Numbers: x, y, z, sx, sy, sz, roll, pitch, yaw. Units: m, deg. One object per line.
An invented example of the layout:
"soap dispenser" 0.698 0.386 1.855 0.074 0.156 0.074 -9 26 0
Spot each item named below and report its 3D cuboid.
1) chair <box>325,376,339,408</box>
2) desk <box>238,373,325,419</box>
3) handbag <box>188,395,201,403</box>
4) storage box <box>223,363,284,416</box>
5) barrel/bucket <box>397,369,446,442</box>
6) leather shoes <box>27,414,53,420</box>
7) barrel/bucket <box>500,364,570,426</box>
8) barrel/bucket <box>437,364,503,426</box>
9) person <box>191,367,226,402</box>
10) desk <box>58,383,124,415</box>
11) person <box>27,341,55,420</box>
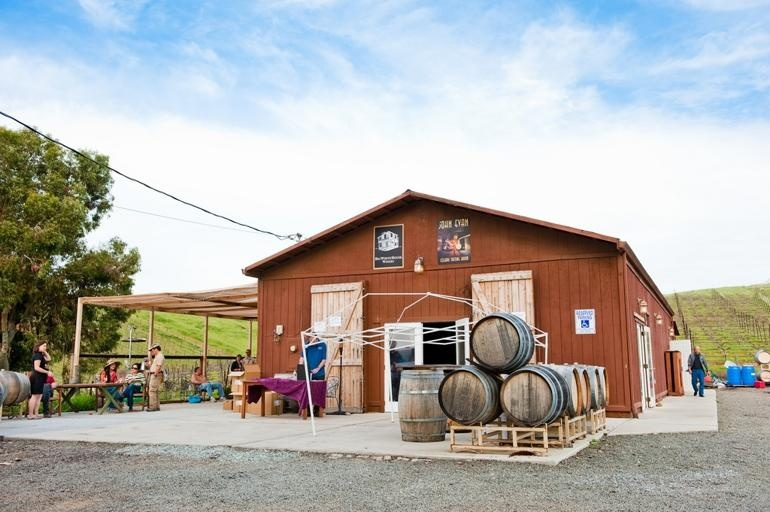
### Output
"chair" -1.526 3.955 16.177 0.336 0.908 0.592 2 -16 -5
"desk" -2.289 3.483 14.316 1.705 0.716 1.723 -2 -17 10
"handbag" -6.689 5.037 19.652 0.416 0.284 0.693 6 -18 -19
"storage box" -3.663 3.807 15.805 1.003 1.303 1.852 -1 -9 14
"barrel/bucket" 0.765 2.872 10.726 0.976 1.287 0.951 -2 -10 0
"leather shoes" -9.084 4.244 14.675 0.421 0.162 0.131 -3 -11 7
"barrel/bucket" 2.511 2.361 9.518 0.925 1.000 1.331 12 0 33
"barrel/bucket" 1.433 2.373 9.509 1.064 0.978 0.425 -3 -16 11
"person" -6.549 4.691 20.515 1.148 1.369 0.850 -8 -16 5
"desk" -8.686 4.260 16.522 1.518 0.733 1.353 -1 -11 7
"person" -9.183 3.268 14.919 0.568 2.073 1.444 10 -18 -29
